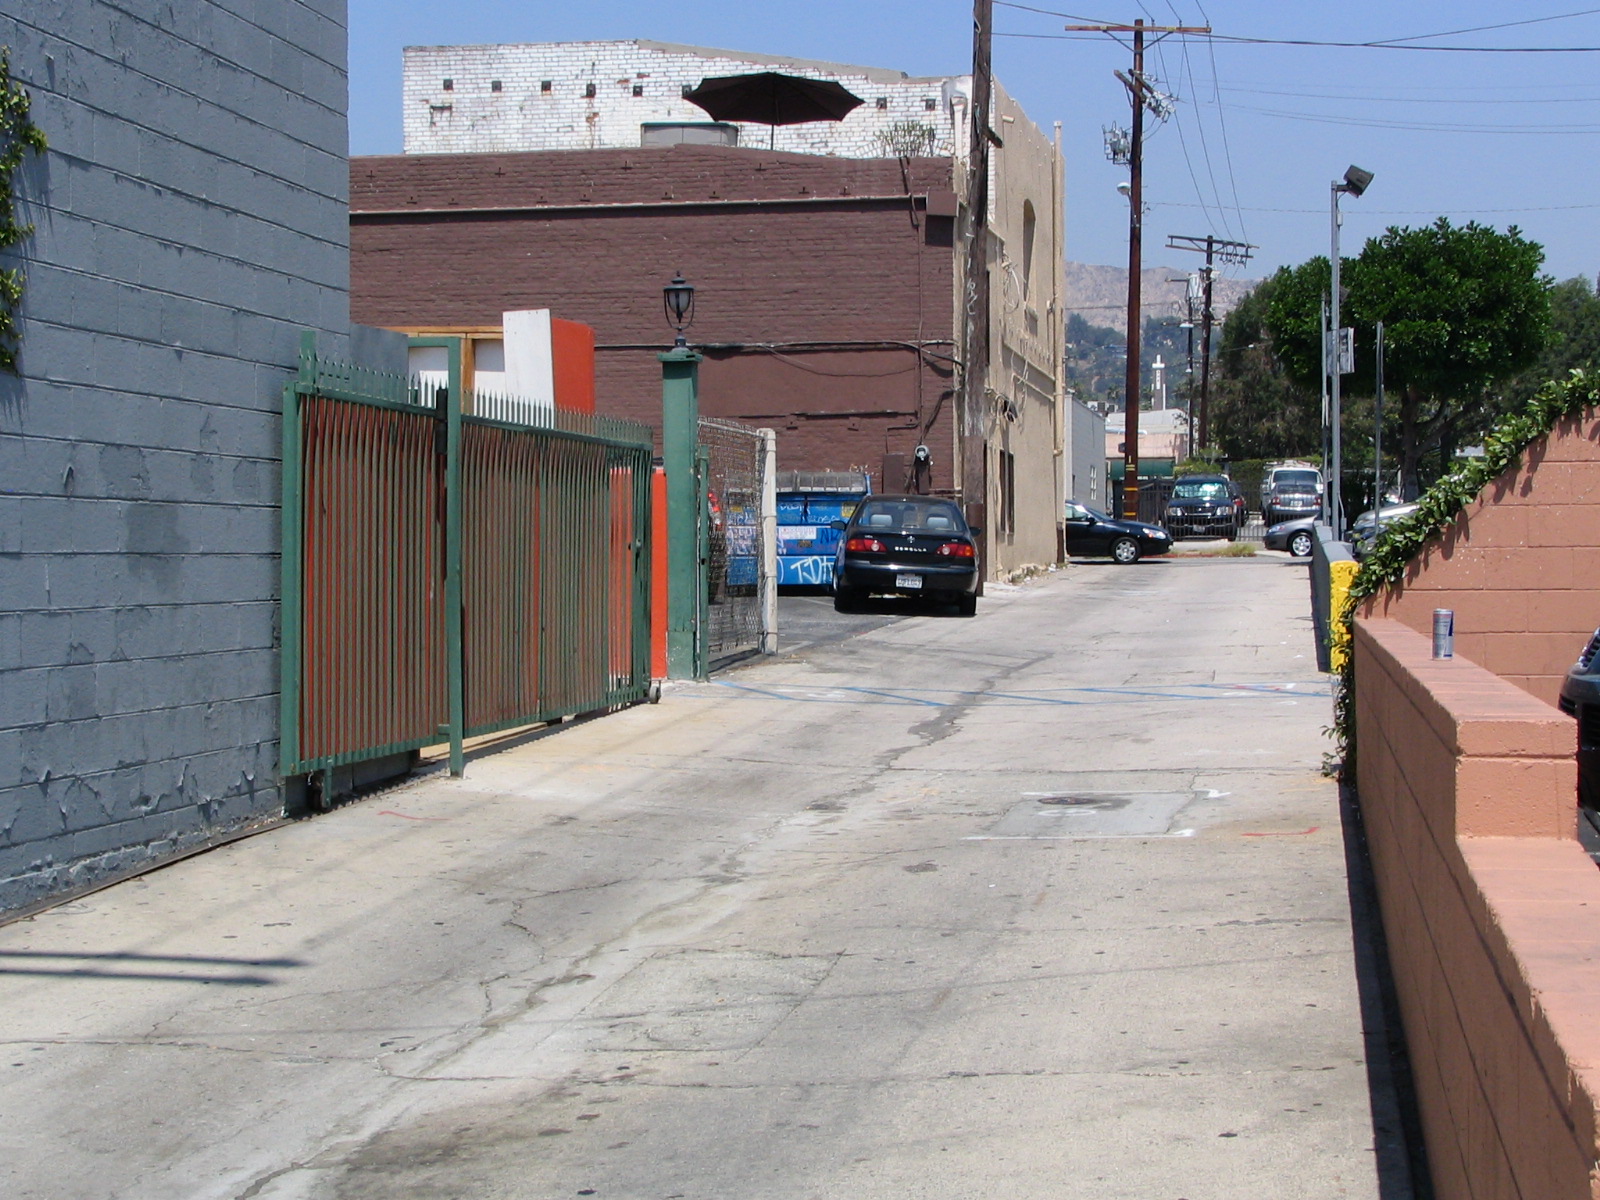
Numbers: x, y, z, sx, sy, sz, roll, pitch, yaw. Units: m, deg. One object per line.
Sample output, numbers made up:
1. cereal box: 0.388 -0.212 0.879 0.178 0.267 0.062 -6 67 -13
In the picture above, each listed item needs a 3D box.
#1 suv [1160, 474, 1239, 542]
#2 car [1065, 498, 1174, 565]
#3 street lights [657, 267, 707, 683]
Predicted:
1. suv: 13.751 -3.146 59.084 2.345 2.006 2.965 0 5 10
2. car: 8.869 -1.817 47.445 3.210 1.220 1.462 -1 3 9
3. street lights: -1.118 -0.864 17.106 0.417 3.255 0.659 -1 4 -6
